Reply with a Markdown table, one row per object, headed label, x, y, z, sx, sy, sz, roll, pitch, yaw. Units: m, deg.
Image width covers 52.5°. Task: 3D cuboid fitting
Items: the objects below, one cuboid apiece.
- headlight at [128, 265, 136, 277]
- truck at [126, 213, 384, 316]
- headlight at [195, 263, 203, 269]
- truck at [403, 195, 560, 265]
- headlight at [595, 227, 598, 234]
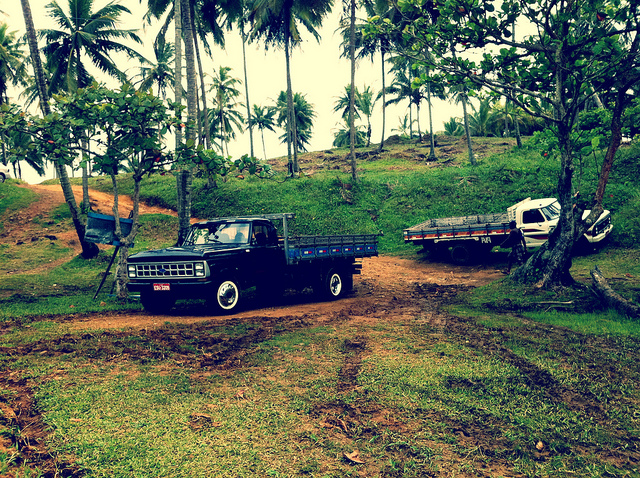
| label | x | y | z | sx | sy | sz | roll | pitch | yaw |
| --- | --- | --- | --- | --- | --- | --- | --- | --- | --- |
| headlight | -5.590 | 0.936 | 19.316 | 0.208 | 0.306 | 0.080 | 3 | 1 | -4 |
| truck | -1.836 | 0.764 | 20.952 | 3.073 | 2.579 | 7.154 | -5 | -3 | 36 |
| headlight | -3.496 | 0.766 | 18.717 | 0.224 | 0.157 | 0.125 | 0 | -3 | -2 |
| truck | 7.052 | -0.412 | 27.846 | 5.923 | 2.176 | 3.122 | -11 | 8 | 24 |
| headlight | 10.693 | -0.344 | 25.018 | 0.116 | 0.263 | 0.055 | -9 | 15 | -28 |
